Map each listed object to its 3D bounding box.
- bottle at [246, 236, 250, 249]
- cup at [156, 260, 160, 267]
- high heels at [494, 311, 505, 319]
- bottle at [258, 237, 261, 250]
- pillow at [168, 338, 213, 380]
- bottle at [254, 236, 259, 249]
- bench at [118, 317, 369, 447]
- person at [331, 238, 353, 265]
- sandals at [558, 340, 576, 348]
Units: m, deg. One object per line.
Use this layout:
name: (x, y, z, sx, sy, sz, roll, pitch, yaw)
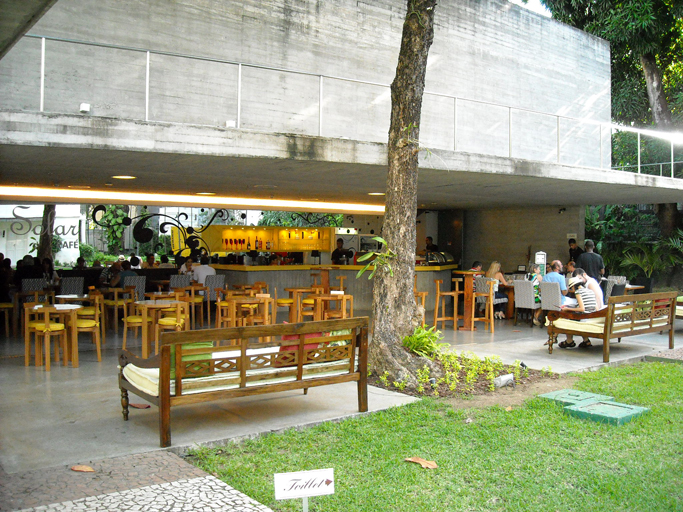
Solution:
bottle: (-3.606, -0.526, 20.150, 0.179, 0.441, 0.106, 0, 4, -11)
cup: (-6.095, 0.230, 17.251, 0.194, 0.216, 0.174, 2, -3, -28)
high heels: (4.296, 1.592, 14.166, 0.203, 0.225, 0.517, 1, -3, 17)
bottle: (-3.207, -0.479, 20.334, 0.169, 0.391, 0.044, -1, 4, -27)
pillow: (-1.515, 1.053, 5.280, 0.428, 0.243, 0.407, -1, 3, -27)
bottle: (-3.305, -0.556, 20.293, 0.120, 0.494, 0.198, 4, 5, 38)
bench: (-1.017, 1.239, 5.847, 2.457, 1.125, 0.985, -1, 4, -30)
person: (0.009, -0.179, 17.298, 0.702, 0.810, 1.343, 1, 4, 2)
sandals: (4.338, 1.682, 10.027, 0.304, 0.133, 0.143, 0, 0, 0)
